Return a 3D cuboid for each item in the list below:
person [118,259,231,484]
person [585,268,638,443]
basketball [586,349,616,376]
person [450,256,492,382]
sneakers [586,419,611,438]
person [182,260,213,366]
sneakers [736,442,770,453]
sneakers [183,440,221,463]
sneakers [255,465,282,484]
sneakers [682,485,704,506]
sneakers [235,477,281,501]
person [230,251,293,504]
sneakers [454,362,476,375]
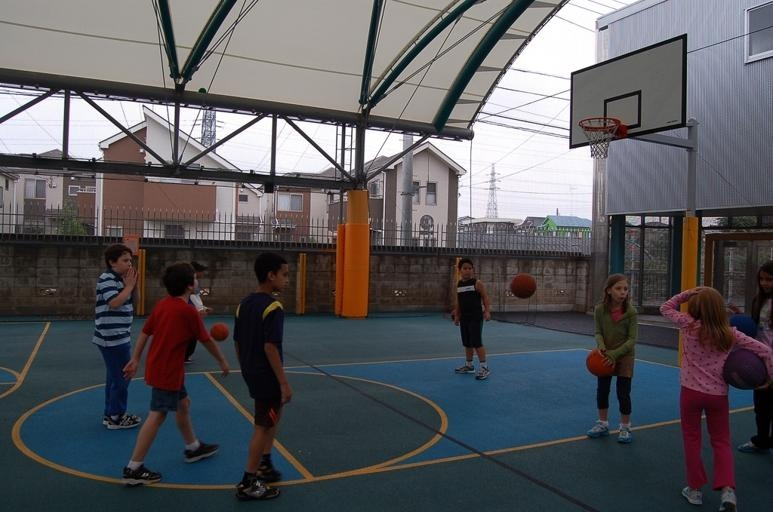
[{"bbox_3d":[-3.327,1.693,9.653,1.495,3.129,1.043,-4,13,-25],"label":"person"},{"bbox_3d":[3.907,1.689,10.825,0.775,2.763,0.913,5,12,19],"label":"person"},{"bbox_3d":[3.574,1.812,10.580,0.434,0.472,0.271,6,13,22],"label":"basketball"},{"bbox_3d":[1.900,1.401,14.088,0.836,2.698,1.599,3,12,7],"label":"person"},{"bbox_3d":[3.597,2.976,10.935,0.490,0.248,0.192,4,-7,-28],"label":"sneakers"},{"bbox_3d":[-4.332,1.327,14.450,0.656,2.192,0.613,5,11,-19],"label":"person"},{"bbox_3d":[6.042,3.182,10.502,0.502,0.206,0.193,2,-4,15],"label":"sneakers"},{"bbox_3d":[-2.939,3.053,10.040,0.616,0.288,0.238,-3,1,-26],"label":"sneakers"},{"bbox_3d":[-1.754,3.242,9.441,0.453,0.200,0.159,17,-6,-26],"label":"sneakers"},{"bbox_3d":[4.474,3.483,9.251,0.154,0.149,0.342,-1,5,-1],"label":"sneakers"},{"bbox_3d":[-1.891,3.374,9.265,0.618,0.296,0.282,1,-3,-11],"label":"sneakers"},{"bbox_3d":[-1.810,1.721,9.220,0.797,3.436,0.898,-1,12,-10],"label":"person"},{"bbox_3d":[1.736,2.504,14.124,0.476,0.241,0.203,2,-4,0],"label":"sneakers"}]
